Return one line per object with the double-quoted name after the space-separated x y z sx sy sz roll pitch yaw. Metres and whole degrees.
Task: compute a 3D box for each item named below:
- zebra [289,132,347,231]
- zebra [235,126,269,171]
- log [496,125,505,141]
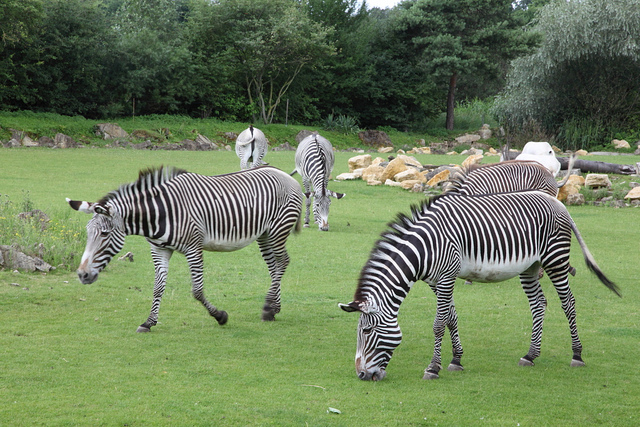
-0.205 -1.128 28.588 1.539 3.008 5.137 1 22 -8 "zebra"
-2.922 -2.529 30.550 1.199 1.840 2.458 2 4 -3 "zebra"
11.455 -5.096 50.679 0.290 0.895 1.281 3 8 -3 "log"
